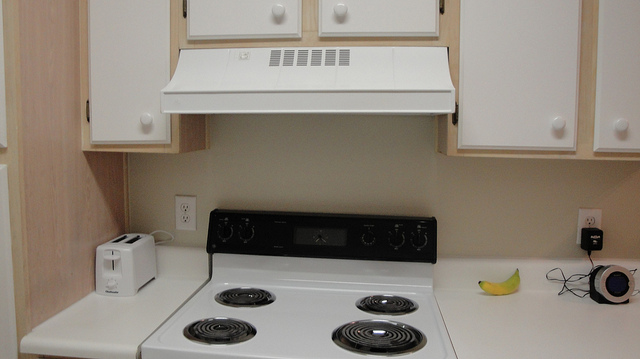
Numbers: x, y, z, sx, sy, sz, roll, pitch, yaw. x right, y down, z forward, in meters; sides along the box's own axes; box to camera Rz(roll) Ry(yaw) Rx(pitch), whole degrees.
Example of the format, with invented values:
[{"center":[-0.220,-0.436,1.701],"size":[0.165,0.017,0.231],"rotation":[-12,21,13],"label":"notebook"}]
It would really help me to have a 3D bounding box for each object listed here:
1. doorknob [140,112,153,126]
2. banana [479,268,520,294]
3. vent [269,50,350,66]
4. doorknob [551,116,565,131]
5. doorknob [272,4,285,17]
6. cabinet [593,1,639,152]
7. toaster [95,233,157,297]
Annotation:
[{"center":[-0.835,-0.286,2.403],"size":[0.059,0.056,0.062],"rotation":[17,-38,-15],"label":"doorknob"},{"center":[0.935,0.535,2.645],"size":[0.264,0.159,0.087],"rotation":[-3,3,-13],"label":"banana"},{"center":[-0.041,-0.574,2.495],"size":[0.392,0.074,0.347],"rotation":[-1,7,7],"label":"vent"},{"center":[1.101,-0.257,2.305],"size":[0.056,0.056,0.056],"rotation":[0,-37,7],"label":"doorknob"},{"center":[-0.193,-0.784,2.330],"size":[0.056,0.052,0.050],"rotation":[3,-37,2],"label":"doorknob"},{"center":[1.360,-0.467,2.320],"size":[0.221,0.640,0.228],"rotation":[5,4,8],"label":"cabinet"},{"center":[-1.033,0.444,2.663],"size":[0.216,0.257,0.358],"rotation":[4,9,4],"label":"toaster"}]
